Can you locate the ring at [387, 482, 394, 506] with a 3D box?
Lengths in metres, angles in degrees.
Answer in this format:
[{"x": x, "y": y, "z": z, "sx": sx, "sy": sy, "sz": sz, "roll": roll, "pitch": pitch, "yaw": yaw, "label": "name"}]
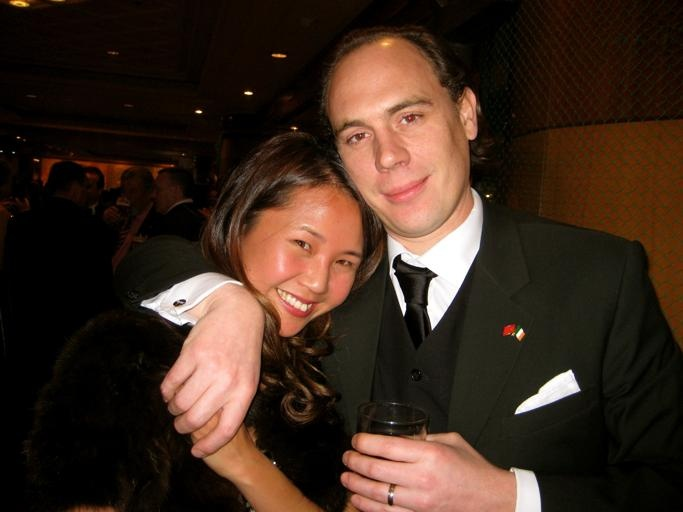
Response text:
[{"x": 0.170, "y": 0.827, "z": 1.887, "sx": 0.024, "sy": 0.078, "sz": 0.076, "roll": 2, "pitch": -8, "yaw": 12, "label": "ring"}]
